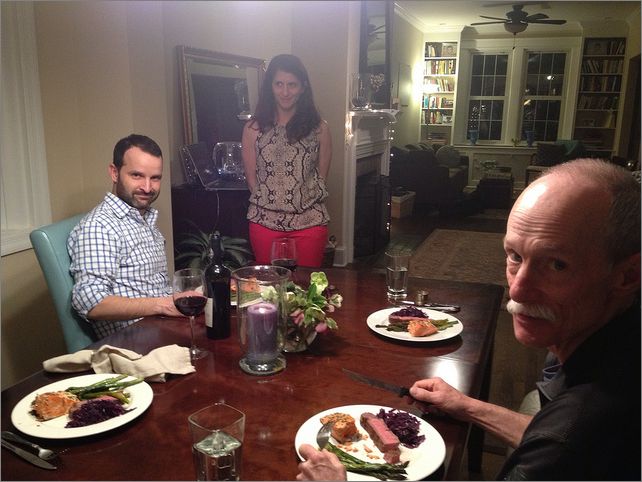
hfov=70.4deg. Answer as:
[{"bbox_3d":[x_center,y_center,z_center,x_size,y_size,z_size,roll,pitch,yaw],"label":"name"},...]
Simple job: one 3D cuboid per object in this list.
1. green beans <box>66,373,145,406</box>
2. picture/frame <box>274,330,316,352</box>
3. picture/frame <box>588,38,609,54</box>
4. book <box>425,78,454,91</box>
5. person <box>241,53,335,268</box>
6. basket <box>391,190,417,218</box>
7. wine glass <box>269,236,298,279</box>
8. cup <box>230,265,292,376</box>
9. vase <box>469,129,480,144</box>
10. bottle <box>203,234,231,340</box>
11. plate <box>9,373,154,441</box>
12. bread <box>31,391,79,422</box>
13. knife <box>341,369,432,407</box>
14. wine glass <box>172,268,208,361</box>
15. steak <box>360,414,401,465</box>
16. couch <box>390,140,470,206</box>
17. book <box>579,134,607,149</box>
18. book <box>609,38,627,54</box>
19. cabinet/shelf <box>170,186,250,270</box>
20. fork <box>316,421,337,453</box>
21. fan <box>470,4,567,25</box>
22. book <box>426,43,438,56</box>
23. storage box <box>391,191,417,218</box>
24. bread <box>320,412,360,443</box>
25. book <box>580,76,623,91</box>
[{"bbox_3d":[-0.563,0.387,1.189,0.116,0.031,0.075,-17,27,-37],"label":"green beans"},{"bbox_3d":[-0.070,0.325,1.447,0.080,0.055,0.079,-1,-4,-1],"label":"picture/frame"},{"bbox_3d":[5.640,-3.950,9.296,0.334,0.297,0.084,1,11,11],"label":"picture/frame"},{"bbox_3d":[2.561,-3.380,9.885,0.643,0.295,0.166,0,18,10],"label":"book"},{"bbox_3d":[-0.214,-0.465,3.012,0.574,1.394,0.529,5,20,1],"label":"person"},{"bbox_3d":[1.389,-0.575,7.513,0.388,0.310,0.492,2,5,27],"label":"basket"},{"bbox_3d":[-0.121,0.058,1.848,0.126,0.164,0.129,0,0,-1],"label":"wine glass"},{"bbox_3d":[-0.202,0.232,1.402,0.209,0.298,0.190,1,11,0],"label":"cup"},{"bbox_3d":[3.400,-2.285,10.115,0.188,0.319,0.242,0,18,11],"label":"vase"},{"bbox_3d":[-0.345,0.151,1.511,0.106,0.340,0.111,4,15,-1],"label":"bottle"},{"bbox_3d":[-0.599,0.416,1.147,0.318,0.040,0.260,5,18,22],"label":"plate"},{"bbox_3d":[-0.657,0.401,1.110,0.077,0.018,0.072,13,16,12],"label":"bread"},{"bbox_3d":[0.166,0.406,1.280,0.157,0.043,0.157,3,8,-8],"label":"knife"},{"bbox_3d":[-0.401,0.232,1.437,0.111,0.275,0.109,-1,11,-12],"label":"wine glass"},{"bbox_3d":[0.139,0.450,1.043,0.053,0.036,0.154,-12,24,-24],"label":"steak"},{"bbox_3d":[1.680,-1.254,8.185,1.147,1.042,2.345,7,12,29],"label":"couch"},{"bbox_3d":[5.775,-2.083,9.605,0.455,0.415,0.305,1,-3,15],"label":"book"},{"bbox_3d":[6.019,-3.894,9.193,0.260,0.350,0.363,5,20,18],"label":"book"},{"bbox_3d":[-0.873,-0.129,3.476,0.439,0.633,0.841,3,16,5],"label":"cabinet/shelf"},{"bbox_3d":[0.007,0.447,1.046,0.018,0.015,0.102,7,18,9],"label":"fork"},{"bbox_3d":[3.266,-3.654,7.347,0.986,0.396,1.449,6,19,25],"label":"fan"},{"bbox_3d":[2.390,-4.091,9.791,0.236,0.260,0.080,-5,18,-7],"label":"book"},{"bbox_3d":[1.388,-0.586,7.502,0.376,0.303,0.482,2,6,30],"label":"storage box"},{"bbox_3d":[0.033,0.424,1.074,0.057,0.037,0.076,-10,15,-36],"label":"bread"},{"bbox_3d":[5.775,-3.243,9.395,0.730,0.326,0.169,5,19,24],"label":"book"}]
